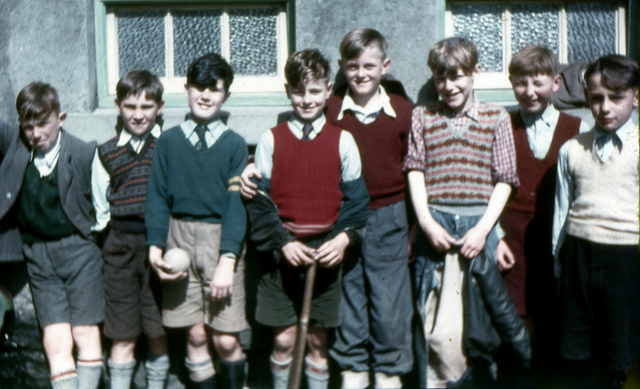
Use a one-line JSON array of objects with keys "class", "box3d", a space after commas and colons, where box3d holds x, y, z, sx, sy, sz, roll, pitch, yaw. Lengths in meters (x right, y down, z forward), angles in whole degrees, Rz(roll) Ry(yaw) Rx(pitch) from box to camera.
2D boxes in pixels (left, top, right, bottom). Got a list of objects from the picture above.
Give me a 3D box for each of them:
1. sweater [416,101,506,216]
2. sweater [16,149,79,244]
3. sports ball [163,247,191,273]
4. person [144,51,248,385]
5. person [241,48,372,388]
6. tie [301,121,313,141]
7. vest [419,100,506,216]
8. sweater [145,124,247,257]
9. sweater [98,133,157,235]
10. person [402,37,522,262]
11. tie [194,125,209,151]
[{"class": "sweater", "box3d": [1.129, -0.259, 5.592, 0.831, 0.991, 0.507, 1, 2, 5]}, {"class": "sweater", "box3d": [-2.226, 0.023, 5.763, 0.489, 0.758, 0.155, 1, 5, 24]}, {"class": "sports ball", "box3d": [-1.094, 0.507, 5.486, 0.208, 0.184, 0.176, 16, -27, -14]}, {"class": "person", "box3d": [-0.956, 0.211, 5.576, 0.801, 2.624, 0.444, -3, 5, -14]}, {"class": "person", "box3d": [-0.113, 0.243, 5.558, 0.970, 2.754, 0.447, -2, 5, -8]}, {"class": "tie", "box3d": [-0.101, -0.498, 5.529, 0.068, 0.130, 0.033, 10, -7, 8]}, {"class": "vest", "box3d": [1.135, -0.327, 5.766, 0.704, 0.957, 0.495, 2, -5, 17]}, {"class": "sweater", "box3d": [-0.957, -0.010, 5.535, 0.866, 1.180, 0.606, 3, 6, -4]}, {"class": "sweater", "box3d": [-1.536, -0.065, 5.683, 0.704, 0.887, 0.450, -2, 9, -20]}, {"class": "person", "box3d": [1.100, -0.360, 5.594, 0.889, 1.768, 0.304, -1, 5, 5]}, {"class": "tie", "box3d": [-0.929, -0.446, 5.555, 0.101, 0.194, 0.062, -2, 5, -10]}]
